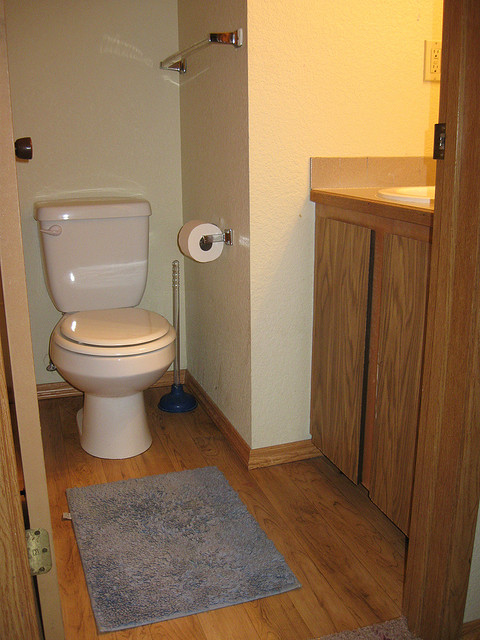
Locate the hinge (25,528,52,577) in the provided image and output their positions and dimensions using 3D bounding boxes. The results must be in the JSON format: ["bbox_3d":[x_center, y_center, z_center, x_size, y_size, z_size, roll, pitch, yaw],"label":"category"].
[{"bbox_3d":[-0.246,0.290,0.634,0.028,0.062,0.021,-5,11,-28],"label":"hinge"}]

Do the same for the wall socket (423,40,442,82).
[{"bbox_3d":[0.590,-0.798,1.588,0.062,0.124,0.014,-6,11,-32],"label":"wall socket"}]

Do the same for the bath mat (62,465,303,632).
[{"bbox_3d":[-0.190,0.569,1.374,0.499,0.013,0.704,-6,14,-28],"label":"bath mat"}]

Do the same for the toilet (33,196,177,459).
[{"bbox_3d":[-0.489,0.006,1.872,0.436,0.900,0.675,-4,11,-23],"label":"toilet"}]
